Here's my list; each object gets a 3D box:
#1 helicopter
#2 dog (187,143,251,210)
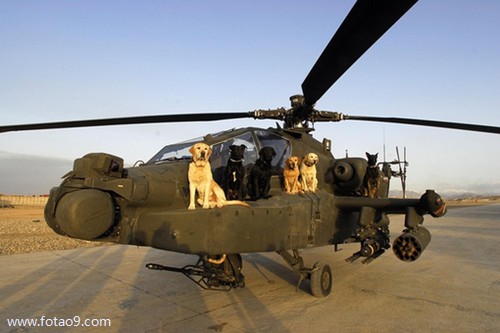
[{"bbox_3d":[0.452,-0.285,6.872,6.885,2.974,6.977,-4,-7,44],"label":"helicopter"},{"bbox_3d":[-0.718,0.302,6.641,1.629,1.348,1.147,0,-5,36],"label":"dog"}]
